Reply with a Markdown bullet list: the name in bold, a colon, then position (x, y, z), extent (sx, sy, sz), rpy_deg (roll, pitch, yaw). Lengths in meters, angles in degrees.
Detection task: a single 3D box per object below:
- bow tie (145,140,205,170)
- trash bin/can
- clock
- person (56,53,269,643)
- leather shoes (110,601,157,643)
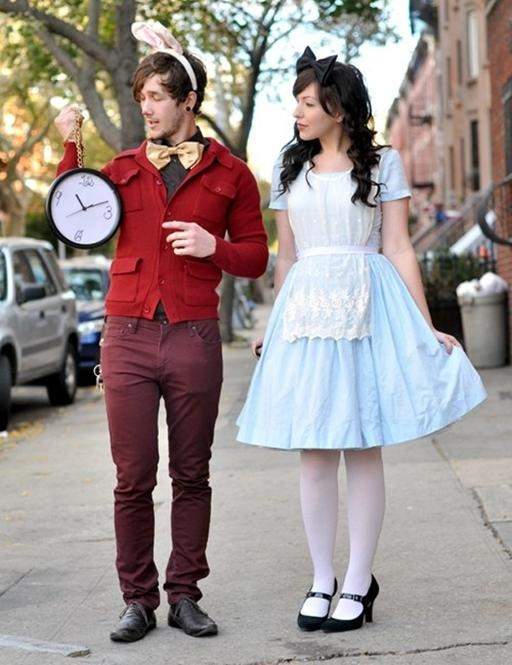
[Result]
- **bow tie**: position (-0.277, -0.619, 3.207), extent (0.136, 0.114, 0.097), rpy_deg (-11, 16, -36)
- **trash bin/can**: position (2.702, -0.045, 10.924), extent (0.527, 0.832, 0.575), rpy_deg (4, 16, 16)
- **clock**: position (-0.595, -0.429, 3.241), extent (0.292, 0.281, 0.052), rpy_deg (-2, 4, 20)
- **person**: position (-0.353, 0.029, 3.227), extent (0.978, 1.979, 0.556), rpy_deg (0, -7, 11)
- **leather shoes**: position (-0.417, 0.980, 3.158), extent (0.112, 0.119, 0.209), rpy_deg (-3, 4, 10)
